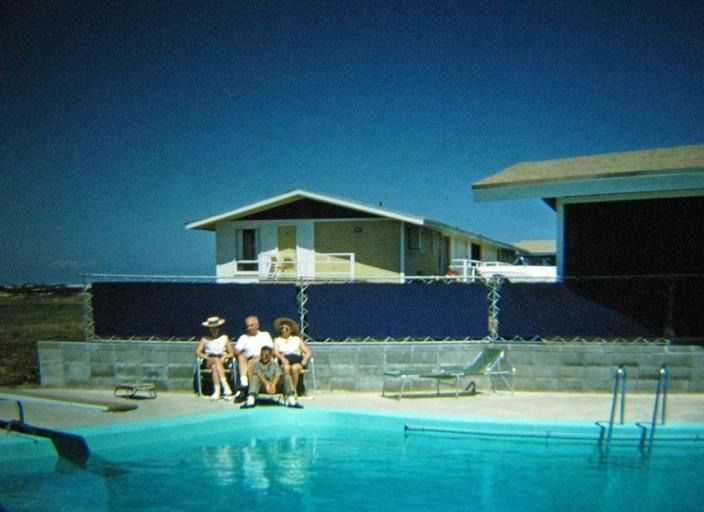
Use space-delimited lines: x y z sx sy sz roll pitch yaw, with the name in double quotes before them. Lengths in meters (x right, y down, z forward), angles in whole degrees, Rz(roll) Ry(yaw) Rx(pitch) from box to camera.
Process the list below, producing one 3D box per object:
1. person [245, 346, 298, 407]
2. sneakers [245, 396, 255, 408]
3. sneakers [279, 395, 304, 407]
"person" -1.845 2.691 17.548 1.199 1.324 0.835 2 -4 -6
"sneakers" -2.266 3.209 17.262 0.222 0.235 0.338 1 -4 2
"sneakers" -1.341 3.264 17.400 0.204 0.274 0.614 11 -20 -44
